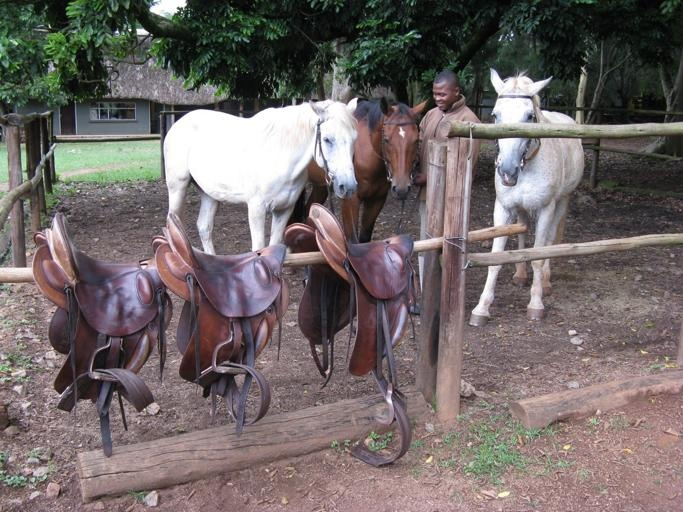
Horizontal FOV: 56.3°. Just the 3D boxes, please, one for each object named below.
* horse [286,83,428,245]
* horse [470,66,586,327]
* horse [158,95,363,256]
[{"bbox_3d":[0.016,-0.633,5.539,0.476,1.404,1.917,-11,21,-33],"label":"horse"},{"bbox_3d":[1.637,-0.506,5.401,0.640,1.963,2.338,9,16,26],"label":"horse"},{"bbox_3d":[-0.642,-0.571,4.971,1.848,1.309,0.479,15,20,37],"label":"horse"}]
